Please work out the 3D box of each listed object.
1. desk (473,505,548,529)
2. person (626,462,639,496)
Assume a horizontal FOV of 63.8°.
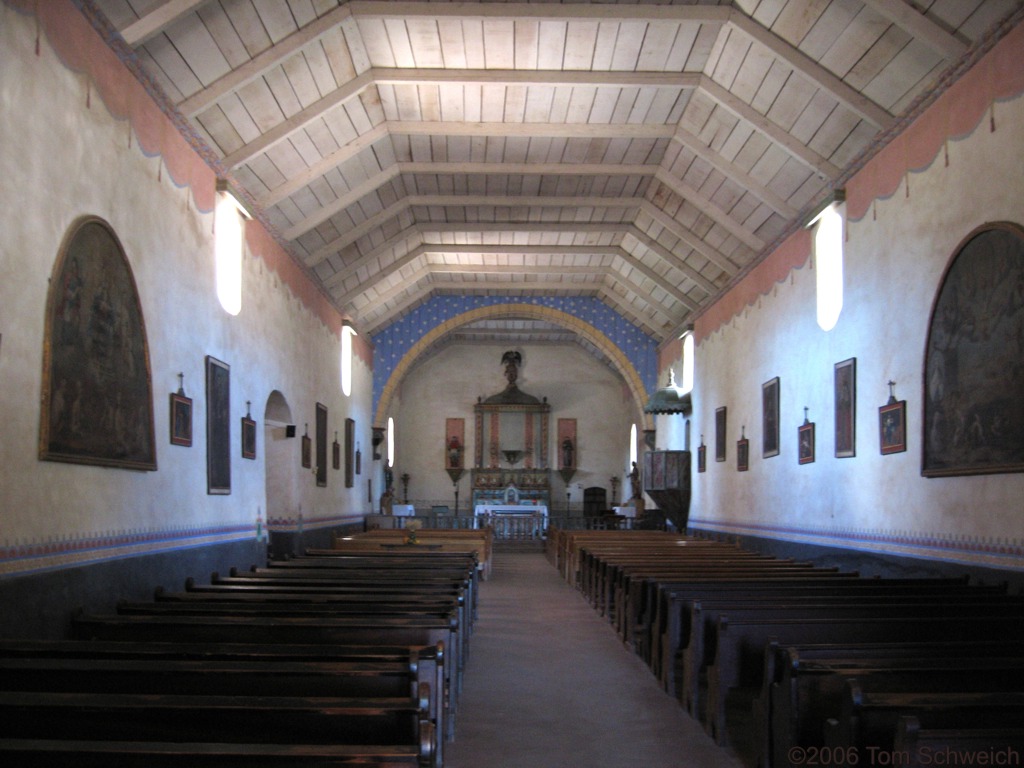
[{"bbox_3d":[-0.001,3.893,24.595,2.155,0.673,1.068,2,-7,0],"label":"desk"},{"bbox_3d":[3.454,2.672,22.929,0.274,0.996,1.012,1,-7,6],"label":"person"}]
